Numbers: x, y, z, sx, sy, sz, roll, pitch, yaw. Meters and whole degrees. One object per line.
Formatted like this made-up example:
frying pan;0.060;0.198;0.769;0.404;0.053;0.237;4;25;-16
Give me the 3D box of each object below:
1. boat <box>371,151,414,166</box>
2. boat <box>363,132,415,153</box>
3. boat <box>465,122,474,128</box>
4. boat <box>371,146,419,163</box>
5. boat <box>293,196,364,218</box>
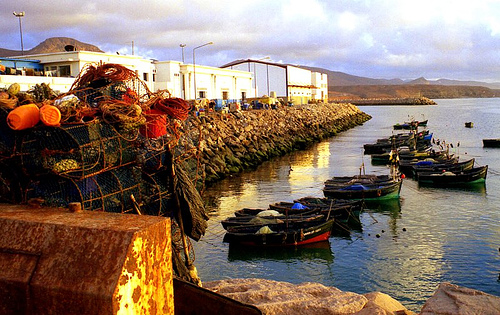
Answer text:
boat;13.050;0.264;41.486;3.073;0.712;1.815;-3;32;2
boat;15.030;-1.535;47.469;5.567;1.856;1.729;-11;-2;25
boat;39.899;-5.980;80.463;0.867;0.648;1.508;2;12;-1
boat;14.180;0.159;42.399;5.067;1.357;1.687;-6;18;1
boat;4.008;2.765;22.850;3.488;1.071;1.363;4;7;32
